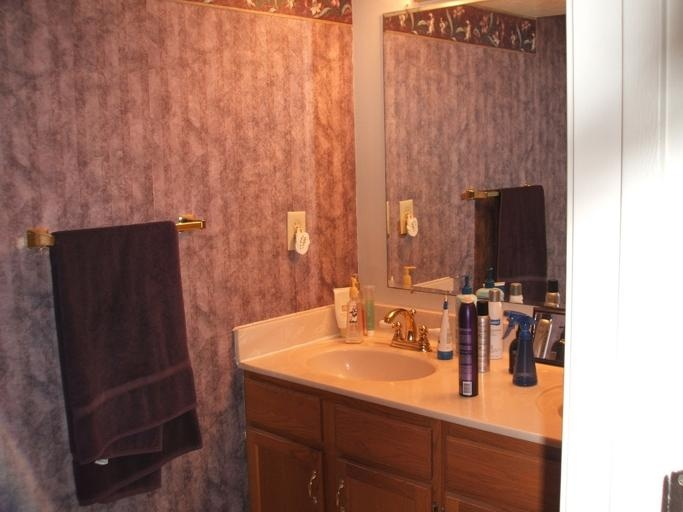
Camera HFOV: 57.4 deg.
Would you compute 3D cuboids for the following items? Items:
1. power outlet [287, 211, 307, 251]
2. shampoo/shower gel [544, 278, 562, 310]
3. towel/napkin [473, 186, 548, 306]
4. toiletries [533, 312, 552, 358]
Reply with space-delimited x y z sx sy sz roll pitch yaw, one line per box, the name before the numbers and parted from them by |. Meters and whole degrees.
power outlet | -0.168 -0.101 2.335 0.025 0.148 0.099 3 11 38
shampoo/shower gel | 0.692 0.115 2.041 0.018 0.090 0.054 -8 10 -34
towel/napkin | 0.578 -0.048 2.145 0.044 0.394 0.281 -10 11 -43
toiletries | 0.644 0.250 1.998 0.065 0.174 0.020 0 -26 19
